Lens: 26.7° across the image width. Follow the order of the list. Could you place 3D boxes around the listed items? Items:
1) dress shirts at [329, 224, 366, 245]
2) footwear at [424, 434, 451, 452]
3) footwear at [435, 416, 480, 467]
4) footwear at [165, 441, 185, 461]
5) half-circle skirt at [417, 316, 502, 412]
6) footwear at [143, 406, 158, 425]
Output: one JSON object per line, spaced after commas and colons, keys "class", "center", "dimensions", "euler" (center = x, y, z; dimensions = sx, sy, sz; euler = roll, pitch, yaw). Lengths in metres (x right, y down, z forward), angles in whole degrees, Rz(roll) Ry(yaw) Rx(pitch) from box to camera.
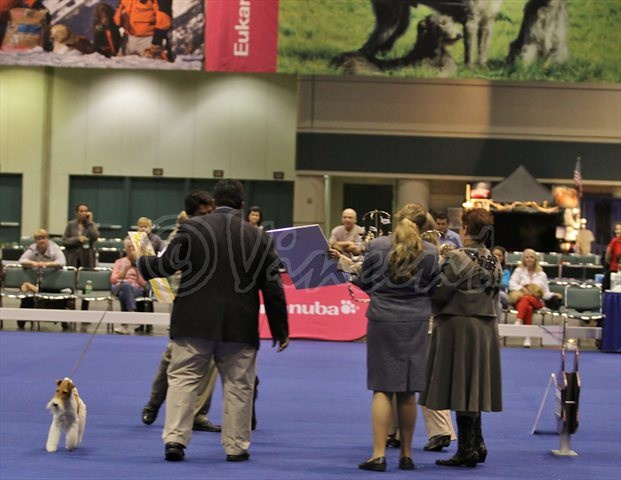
{"class": "dress shirts", "center": [0.658, -0.103, 23.074], "dimensions": [0.384, 0.449, 0.165], "euler": [10, 1, 9]}
{"class": "footwear", "center": [1.890, 3.020, 19.434], "dimensions": [0.186, 0.231, 0.414], "euler": [-2, 1, -44]}
{"class": "footwear", "center": [2.183, 2.902, 19.297], "dimensions": [0.640, 0.714, 0.738], "euler": [3, 2, 5]}
{"class": "footwear", "center": [-1.951, 3.056, 18.821], "dimensions": [0.289, 0.261, 0.168], "euler": [1, 5, -14]}
{"class": "half-circle skirt", "center": [2.224, 1.799, 19.150], "dimensions": [0.968, 1.525, 0.946], "euler": [8, 6, 43]}
{"class": "footwear", "center": [-2.447, 2.661, 19.761], "dimensions": [0.178, 0.297, 0.276], "euler": [6, 1, 3]}
